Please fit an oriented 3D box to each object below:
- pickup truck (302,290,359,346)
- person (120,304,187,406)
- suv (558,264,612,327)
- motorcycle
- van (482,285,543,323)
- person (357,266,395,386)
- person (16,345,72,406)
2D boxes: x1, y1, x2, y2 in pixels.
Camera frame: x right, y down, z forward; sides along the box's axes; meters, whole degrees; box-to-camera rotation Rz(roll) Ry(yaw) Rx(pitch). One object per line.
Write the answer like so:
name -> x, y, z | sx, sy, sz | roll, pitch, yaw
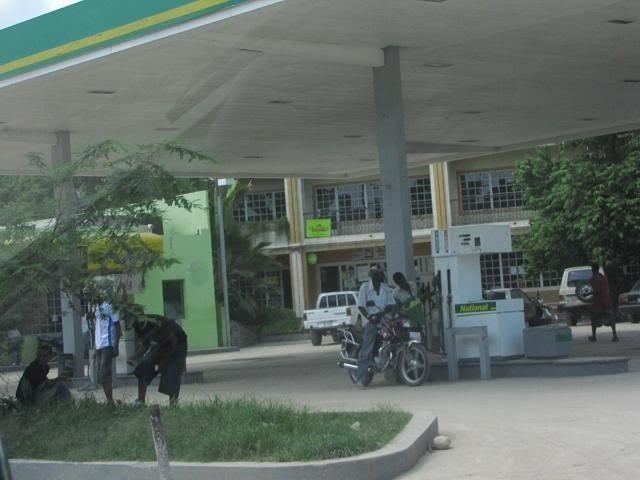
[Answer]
pickup truck -> 0.390, 2.500, 29.643 | 1.129, 1.074, 2.215 | -1, 2, 18
person -> -2.392, 1.706, 13.522 | 0.809, 1.436, 0.911 | -2, -4, -4
suv -> 7.802, 1.771, 27.467 | 1.325, 1.572, 2.580 | 0, 2, 21
motorcycle -> 1.230, 1.959, 16.169 | 1.700, 1.350, 0.930 | -6, -7, 34
van -> 5.484, 1.816, 26.504 | 1.883, 1.200, 1.169 | -4, 1, -26
person -> 0.944, 1.500, 15.752 | 0.668, 2.052, 0.430 | -3, -4, 0
person -> -4.170, 2.125, 13.964 | 0.706, 1.075, 0.426 | -6, 9, -24
